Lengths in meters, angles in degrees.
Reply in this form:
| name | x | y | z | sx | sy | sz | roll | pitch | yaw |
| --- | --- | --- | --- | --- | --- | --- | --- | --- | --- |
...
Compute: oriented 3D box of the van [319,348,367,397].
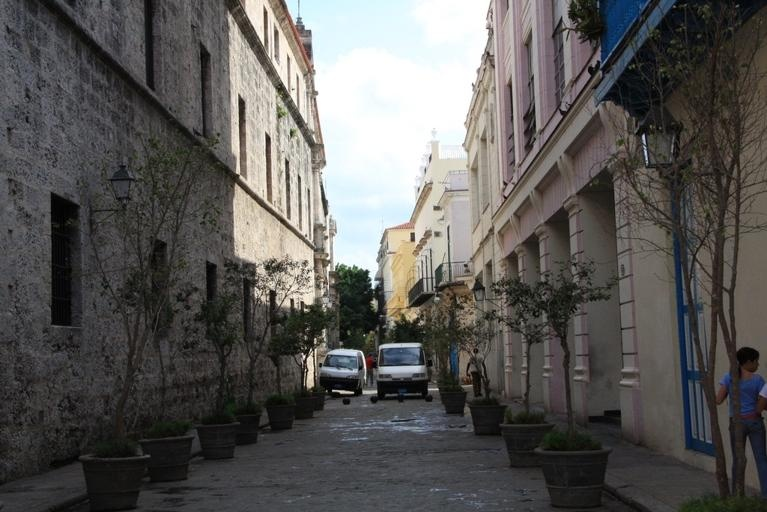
| name | x | y | z | sx | sy | sz | roll | pitch | yaw |
| --- | --- | --- | --- | --- | --- | --- | --- | --- | --- |
| van | -1.964 | 5.933 | 34.892 | 1.407 | 1.666 | 2.774 | -1 | -11 | 3 |
